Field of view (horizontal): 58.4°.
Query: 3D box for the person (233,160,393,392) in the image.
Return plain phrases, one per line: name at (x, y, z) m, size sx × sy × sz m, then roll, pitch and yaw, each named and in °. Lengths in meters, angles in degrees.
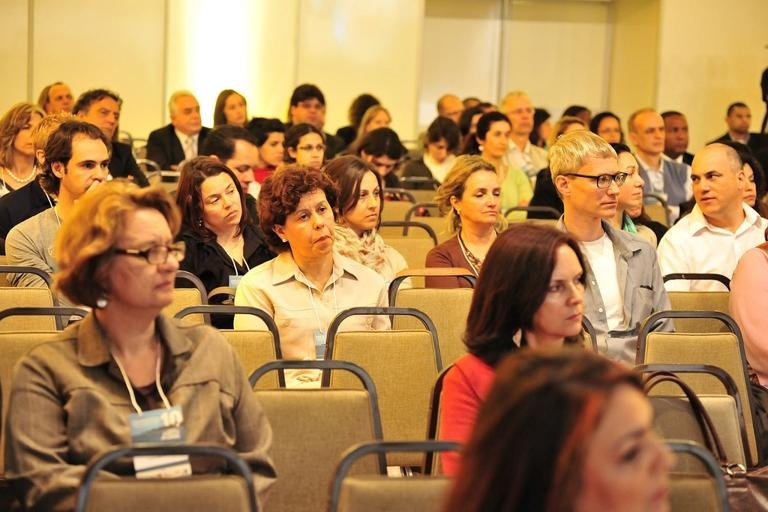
person at (-0.449, 0.205, 4.363) m, size 0.950 × 1.466 × 0.695 m, roll -1°, pitch -7°, yaw -21°
